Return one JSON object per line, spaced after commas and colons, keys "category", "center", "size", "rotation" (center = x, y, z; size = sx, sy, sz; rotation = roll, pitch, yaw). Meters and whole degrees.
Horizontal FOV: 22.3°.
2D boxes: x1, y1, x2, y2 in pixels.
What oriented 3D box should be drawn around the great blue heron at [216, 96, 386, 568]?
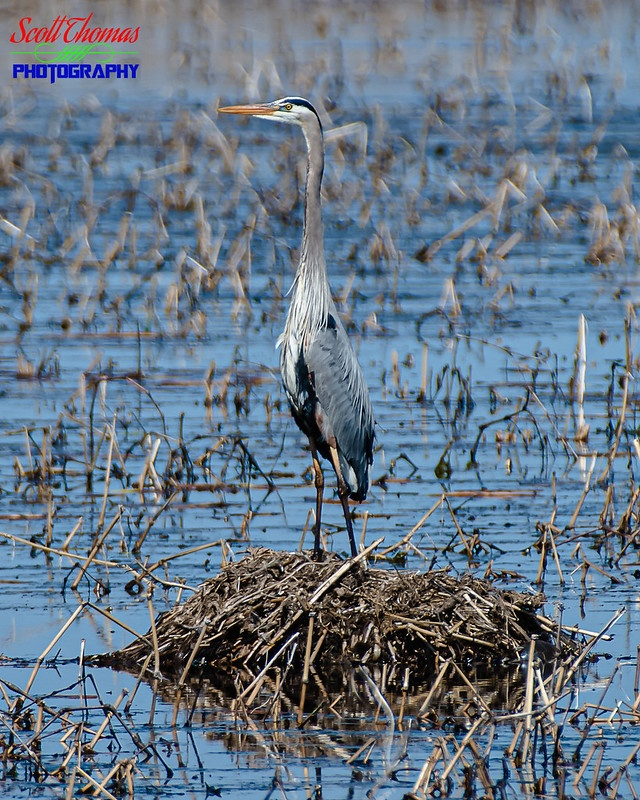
{"category": "great blue heron", "center": [0.004, -0.543, 8.600], "size": [0.455, 2.196, 0.771], "rotation": [-3, 3, 4]}
